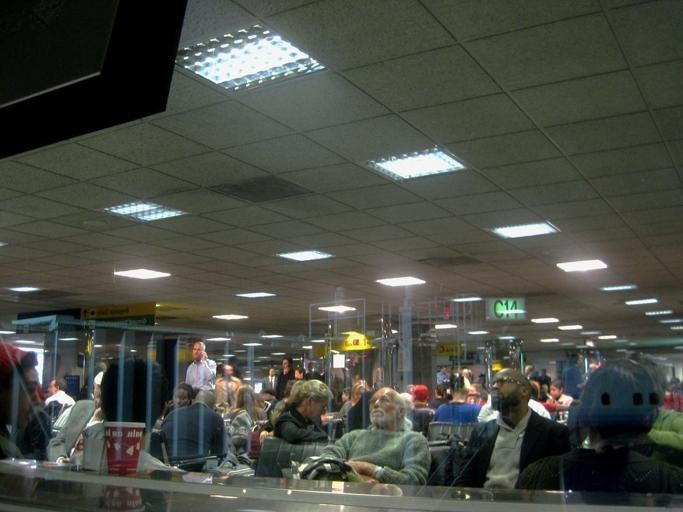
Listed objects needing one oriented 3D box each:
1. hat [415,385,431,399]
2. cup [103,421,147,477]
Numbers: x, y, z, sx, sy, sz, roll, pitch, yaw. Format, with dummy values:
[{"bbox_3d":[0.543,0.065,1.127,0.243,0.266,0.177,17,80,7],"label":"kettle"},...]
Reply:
[{"bbox_3d":[0.452,0.789,3.242,0.081,0.067,0.096,4,-27,-5],"label":"hat"},{"bbox_3d":[-0.628,0.604,1.726,0.170,0.143,0.149,6,-23,-14],"label":"cup"}]
